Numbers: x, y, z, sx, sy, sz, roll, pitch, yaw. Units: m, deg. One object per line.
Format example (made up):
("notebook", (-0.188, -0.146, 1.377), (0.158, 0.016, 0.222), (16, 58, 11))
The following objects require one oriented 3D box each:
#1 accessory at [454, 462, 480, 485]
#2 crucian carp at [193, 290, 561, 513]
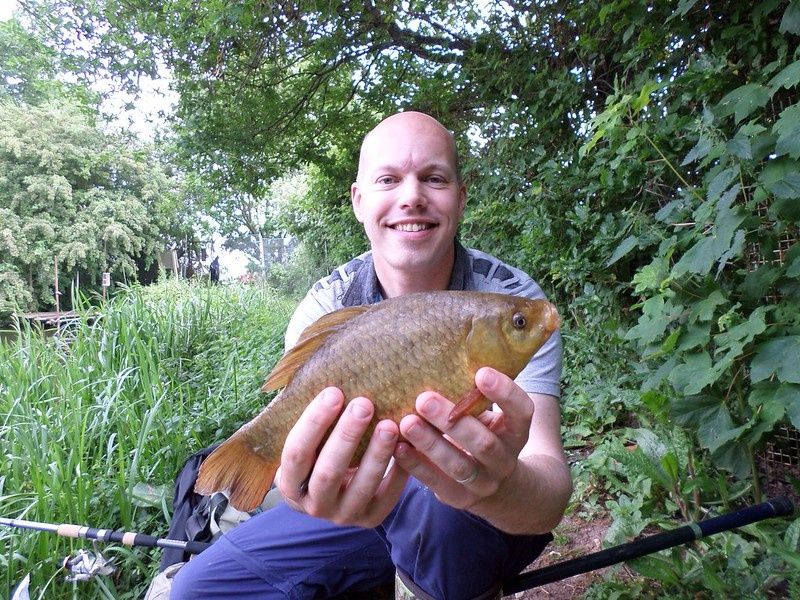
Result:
("accessory", (0.306, 0.780, 2.519), (0.074, 0.019, 0.081), (-12, -30, -27))
("crucian carp", (-0.084, 0.540, 2.781), (1.704, 0.824, 0.534), (-28, 19, 2))
